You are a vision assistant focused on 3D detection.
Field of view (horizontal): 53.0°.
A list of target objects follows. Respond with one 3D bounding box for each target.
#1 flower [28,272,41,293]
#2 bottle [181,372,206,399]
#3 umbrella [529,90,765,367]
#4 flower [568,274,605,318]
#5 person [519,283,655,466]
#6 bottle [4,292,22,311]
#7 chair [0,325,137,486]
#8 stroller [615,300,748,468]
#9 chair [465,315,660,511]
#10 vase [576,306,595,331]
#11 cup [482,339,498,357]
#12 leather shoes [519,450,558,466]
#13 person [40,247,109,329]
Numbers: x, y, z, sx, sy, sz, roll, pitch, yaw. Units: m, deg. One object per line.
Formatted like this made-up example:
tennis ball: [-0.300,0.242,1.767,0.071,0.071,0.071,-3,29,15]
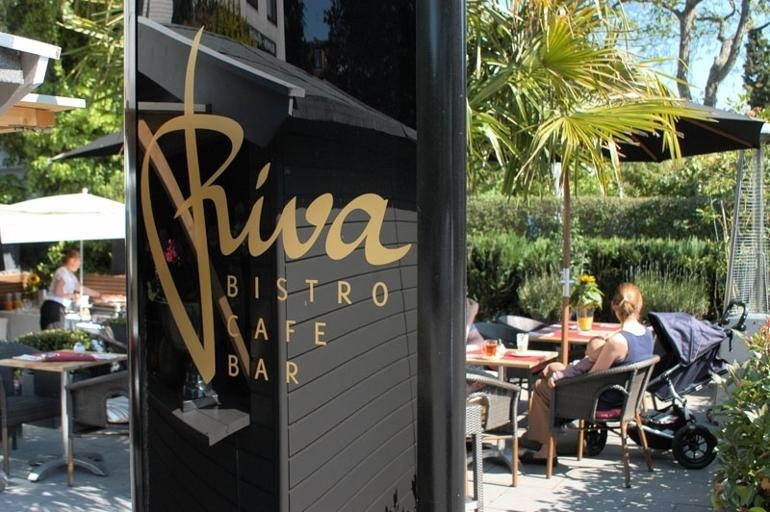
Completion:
flower: [-5.332,0.401,11.908,0.118,0.313,0.246,-2,3,-35]
bottle: [-1.017,0.702,4.148,0.150,0.143,0.034,0,-4,35]
umbrella: [2.449,-0.185,7.816,2.273,2.337,2.438,5,7,32]
flower: [2.052,0.405,7.903,0.406,0.459,0.367,-6,7,-38]
person: [1.814,1.082,7.007,1.024,1.780,0.626,5,10,27]
bottle: [-5.429,0.655,11.293,0.216,0.287,0.270,0,-9,2]
chair: [-2.914,1.485,7.070,1.112,1.189,1.503,4,-4,-29]
stroller: [2.888,1.209,7.503,0.905,1.498,0.952,1,-1,9]
chair: [1.671,1.187,6.732,1.144,1.749,1.426,1,-2,26]
vase: [2.176,0.669,8.315,0.196,0.263,0.207,-3,-4,25]
cup: [0.973,0.845,7.098,0.107,0.138,0.118,1,-8,0]
leather shoes: [1.443,1.918,7.227,0.357,0.126,0.138,5,-2,17]
person: [-3.886,0.671,9.941,0.549,0.461,1.077,22,22,-34]
